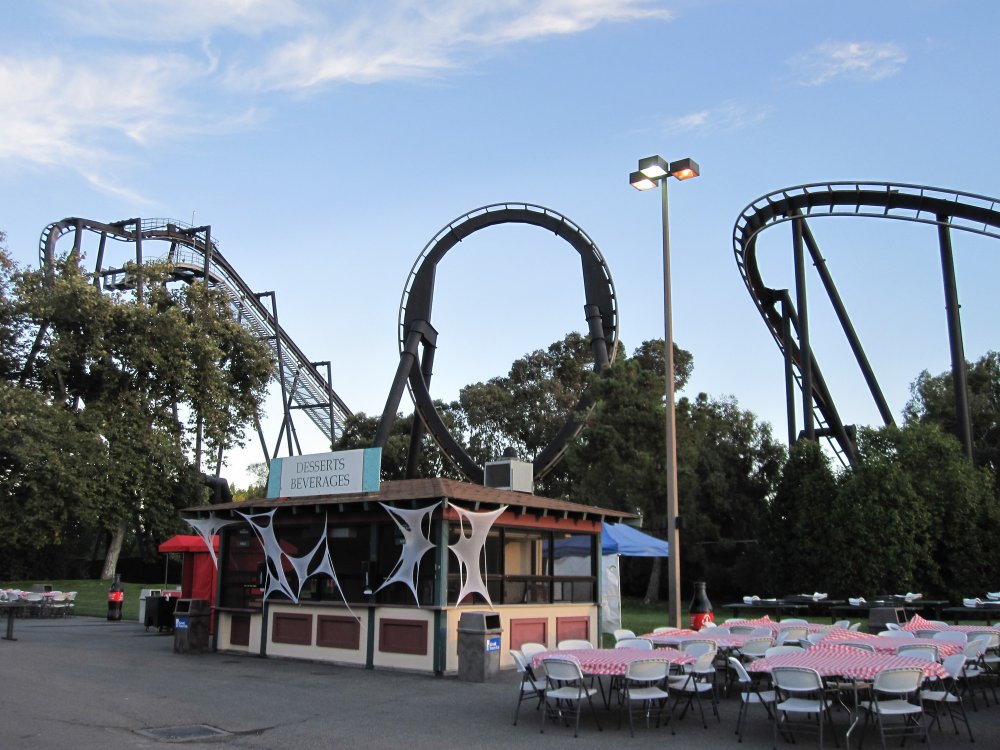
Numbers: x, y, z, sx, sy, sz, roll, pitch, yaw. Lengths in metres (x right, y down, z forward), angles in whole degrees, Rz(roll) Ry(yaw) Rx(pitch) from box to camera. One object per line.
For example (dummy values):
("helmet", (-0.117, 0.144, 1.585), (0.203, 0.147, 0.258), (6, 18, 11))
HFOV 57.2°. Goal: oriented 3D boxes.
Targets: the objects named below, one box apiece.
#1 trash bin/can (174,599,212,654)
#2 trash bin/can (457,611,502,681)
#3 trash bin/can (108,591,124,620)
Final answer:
("trash bin/can", (-7.625, 6.233, 22.923), (0.927, 1.313, 0.717), (4, -15, -20))
("trash bin/can", (-0.403, 5.605, 19.007), (0.844, 1.377, 0.455), (0, -14, -5))
("trash bin/can", (-13.082, 7.814, 31.328), (0.415, 1.057, 1.094), (6, -16, -25))
